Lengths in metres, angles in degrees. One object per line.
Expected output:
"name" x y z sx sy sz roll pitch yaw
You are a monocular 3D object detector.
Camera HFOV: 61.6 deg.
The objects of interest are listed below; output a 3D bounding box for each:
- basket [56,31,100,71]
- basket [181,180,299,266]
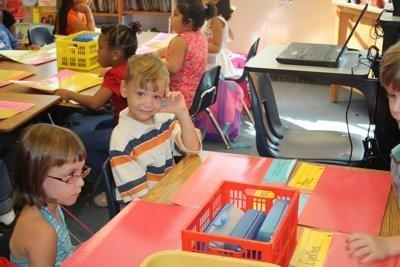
"basket" -1.068 -0.755 3.103 0.363 0.287 0.513 4 19 11
"basket" 0.126 0.191 0.970 0.256 0.156 0.364 4 20 20
